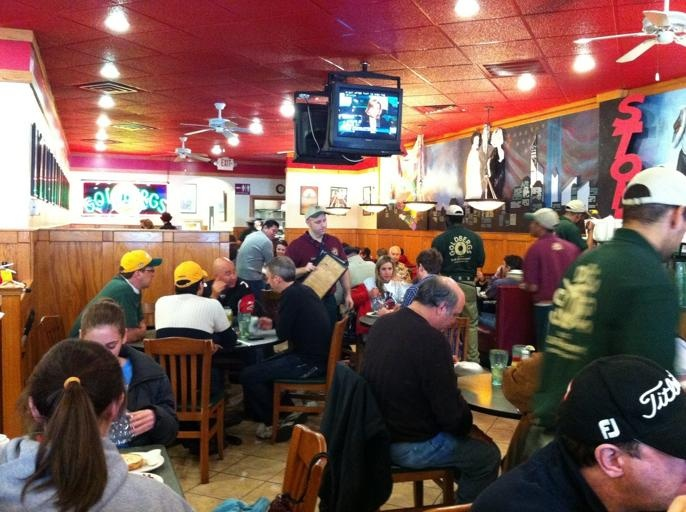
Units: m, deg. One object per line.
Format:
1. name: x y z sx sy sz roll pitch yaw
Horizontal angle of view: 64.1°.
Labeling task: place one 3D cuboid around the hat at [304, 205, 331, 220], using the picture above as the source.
1. hat: -0.317 -0.496 6.265 0.235 0.157 0.303 -2 5 -4

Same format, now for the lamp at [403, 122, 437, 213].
1. lamp: 1.535 -1.671 11.724 0.783 1.553 0.736 -2 -6 8

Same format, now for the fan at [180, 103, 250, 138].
1. fan: -1.990 -2.266 8.892 0.892 0.319 0.983 8 1 32

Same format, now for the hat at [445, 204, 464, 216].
1. hat: 1.430 -0.577 7.028 0.309 0.149 0.428 2 8 6

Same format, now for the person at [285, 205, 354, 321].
1. person: -0.265 0.323 6.362 0.815 1.708 0.564 -5 13 -6

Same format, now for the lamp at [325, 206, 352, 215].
1. lamp: -0.092 -1.091 13.249 0.602 0.168 0.587 -1 2 -30

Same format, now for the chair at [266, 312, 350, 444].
1. chair: -0.321 1.083 4.911 0.783 0.942 0.729 0 -4 -22

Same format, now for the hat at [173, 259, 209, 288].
1. hat: -1.254 0.144 4.535 0.190 0.149 0.283 2 18 16

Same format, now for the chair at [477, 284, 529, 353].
1. chair: 1.997 0.753 6.635 0.563 0.692 0.423 0 -3 -21

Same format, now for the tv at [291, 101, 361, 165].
1. tv: -0.193 -1.685 7.340 0.949 0.855 0.845 -7 -10 18

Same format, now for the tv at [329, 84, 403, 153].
1. tv: 0.171 -1.668 6.675 0.944 0.763 0.541 -4 13 -29

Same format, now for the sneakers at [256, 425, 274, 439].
1. sneakers: -0.688 1.537 4.778 0.123 0.115 0.046 2 -35 9

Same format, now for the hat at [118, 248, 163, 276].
1. hat: -1.624 0.048 4.401 0.305 0.148 0.210 -5 10 -31

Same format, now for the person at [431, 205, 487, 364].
1. person: 1.390 0.384 6.981 0.705 1.987 0.618 -1 -1 -17

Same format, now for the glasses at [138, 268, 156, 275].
1. glasses: -1.574 0.121 4.396 0.068 0.050 0.107 6 -1 25
